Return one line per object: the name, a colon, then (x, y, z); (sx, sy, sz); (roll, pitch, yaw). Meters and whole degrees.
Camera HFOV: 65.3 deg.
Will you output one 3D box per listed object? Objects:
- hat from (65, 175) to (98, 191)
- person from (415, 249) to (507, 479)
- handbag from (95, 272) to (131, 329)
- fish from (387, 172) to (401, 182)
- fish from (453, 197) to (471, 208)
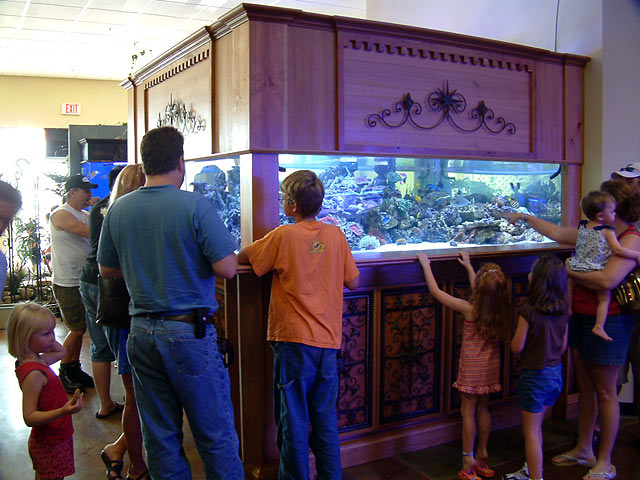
hat: (-2.297, -0.537, 4.793); (0.220, 0.134, 0.151); (-5, 8, -20)
person: (1.024, 0.908, 3.478); (0.560, 1.493, 0.233); (0, 6, 20)
handbag: (-1.356, 0.333, 3.304); (0.233, 0.422, 0.289); (-2, 18, -35)
fish: (0.560, -0.473, 3.806); (0.083, 0.090, 0.020); (1, -1, -30)
fish: (1.137, -0.310, 4.043); (0.087, 0.100, 0.089); (-3, 8, -38)
